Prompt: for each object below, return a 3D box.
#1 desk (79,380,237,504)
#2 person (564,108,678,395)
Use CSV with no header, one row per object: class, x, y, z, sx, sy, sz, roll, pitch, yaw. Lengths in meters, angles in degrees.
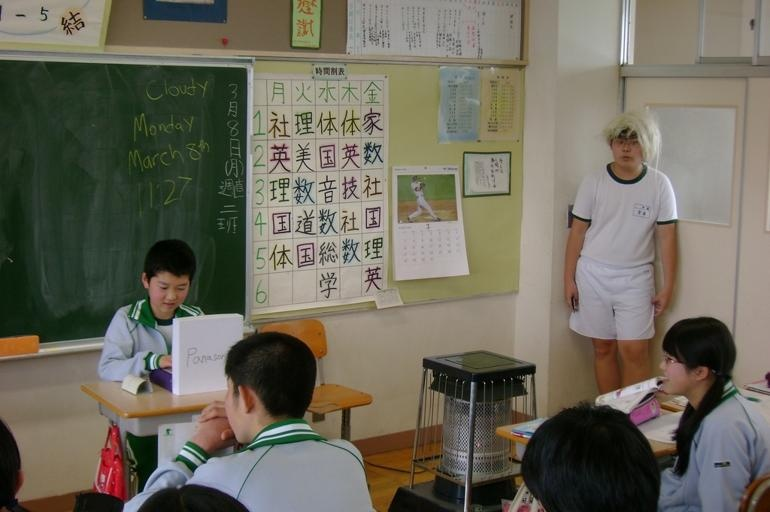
desk,-0.999,0.612,2.748,0.590,0.574,0.581,-3,10,-39
person,1.624,0.011,4.235,0.727,1.953,0.357,1,6,26
